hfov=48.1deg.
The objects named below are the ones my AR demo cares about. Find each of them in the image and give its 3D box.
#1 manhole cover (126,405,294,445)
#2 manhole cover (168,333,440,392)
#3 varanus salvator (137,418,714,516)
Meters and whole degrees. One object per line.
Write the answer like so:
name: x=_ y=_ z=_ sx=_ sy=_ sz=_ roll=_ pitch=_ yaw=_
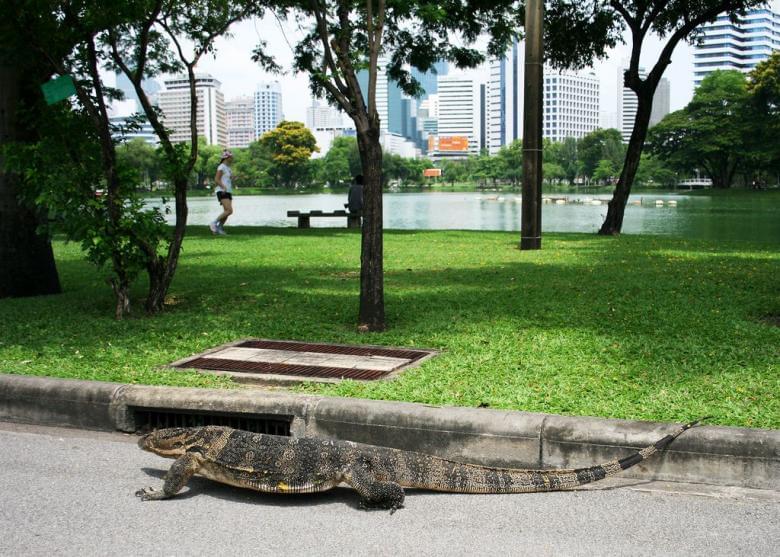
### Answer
manhole cover: x=-1.860 y=1.298 z=8.946 sx=1.608 sy=0.416 sz=0.299 roll=1 pitch=14 yaw=8
manhole cover: x=-0.962 y=1.025 z=10.659 sx=2.553 sy=0.108 sz=2.295 roll=3 pitch=4 yaw=10
varanus salvator: x=0.099 y=1.738 z=8.259 sx=5.013 sy=0.864 sz=1.327 roll=5 pitch=-5 yaw=-4
